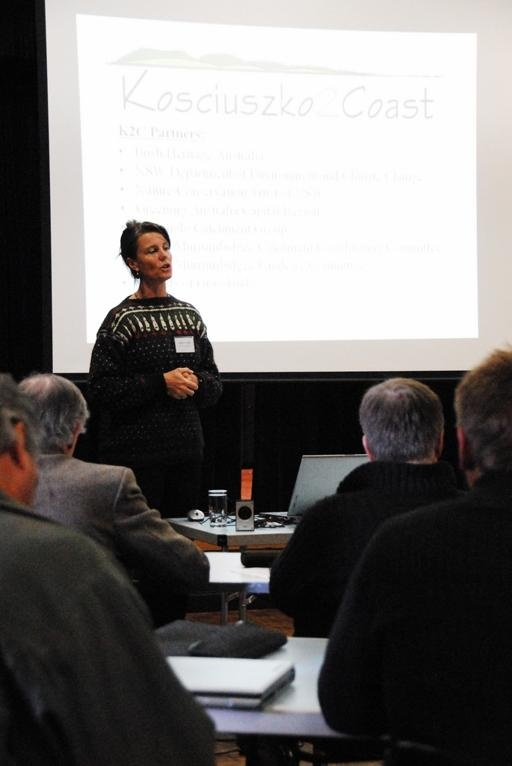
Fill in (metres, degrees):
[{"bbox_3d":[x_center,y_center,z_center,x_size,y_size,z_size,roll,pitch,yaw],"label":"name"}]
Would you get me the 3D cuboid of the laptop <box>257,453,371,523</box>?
[{"bbox_3d":[0.186,0.360,2.327,0.282,0.186,0.248,7,-22,-27],"label":"laptop"}]
